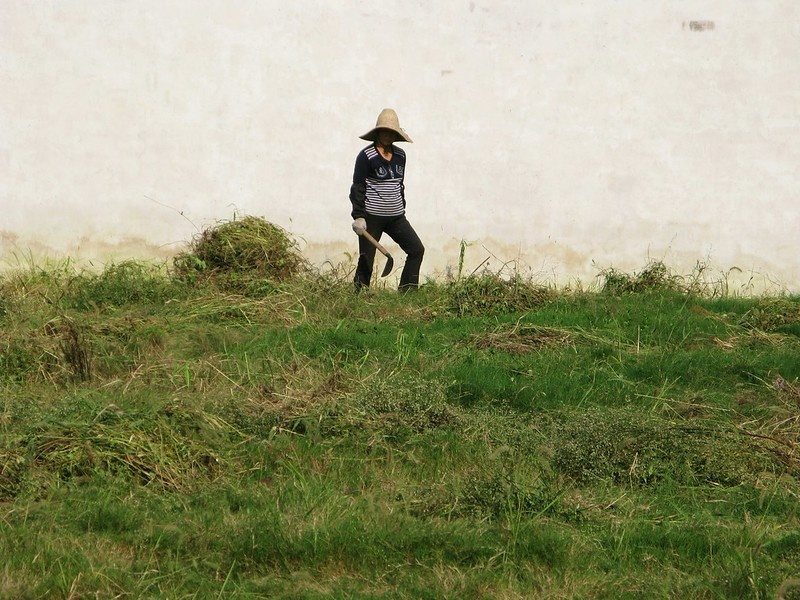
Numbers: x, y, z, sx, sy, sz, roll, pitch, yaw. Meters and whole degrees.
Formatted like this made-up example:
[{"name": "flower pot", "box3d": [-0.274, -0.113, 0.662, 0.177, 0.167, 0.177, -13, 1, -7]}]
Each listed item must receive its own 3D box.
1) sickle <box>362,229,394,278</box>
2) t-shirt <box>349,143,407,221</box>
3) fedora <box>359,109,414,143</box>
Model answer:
[{"name": "sickle", "box3d": [-0.316, -0.618, 14.844, 0.103, 0.327, 0.566, 6, -11, 38]}, {"name": "t-shirt", "box3d": [-0.251, -1.368, 14.936, 0.622, 0.656, 0.526, 6, 3, -1]}, {"name": "fedora", "box3d": [-0.170, -2.034, 14.884, 0.500, 0.285, 0.467, 7, 4, 7]}]
